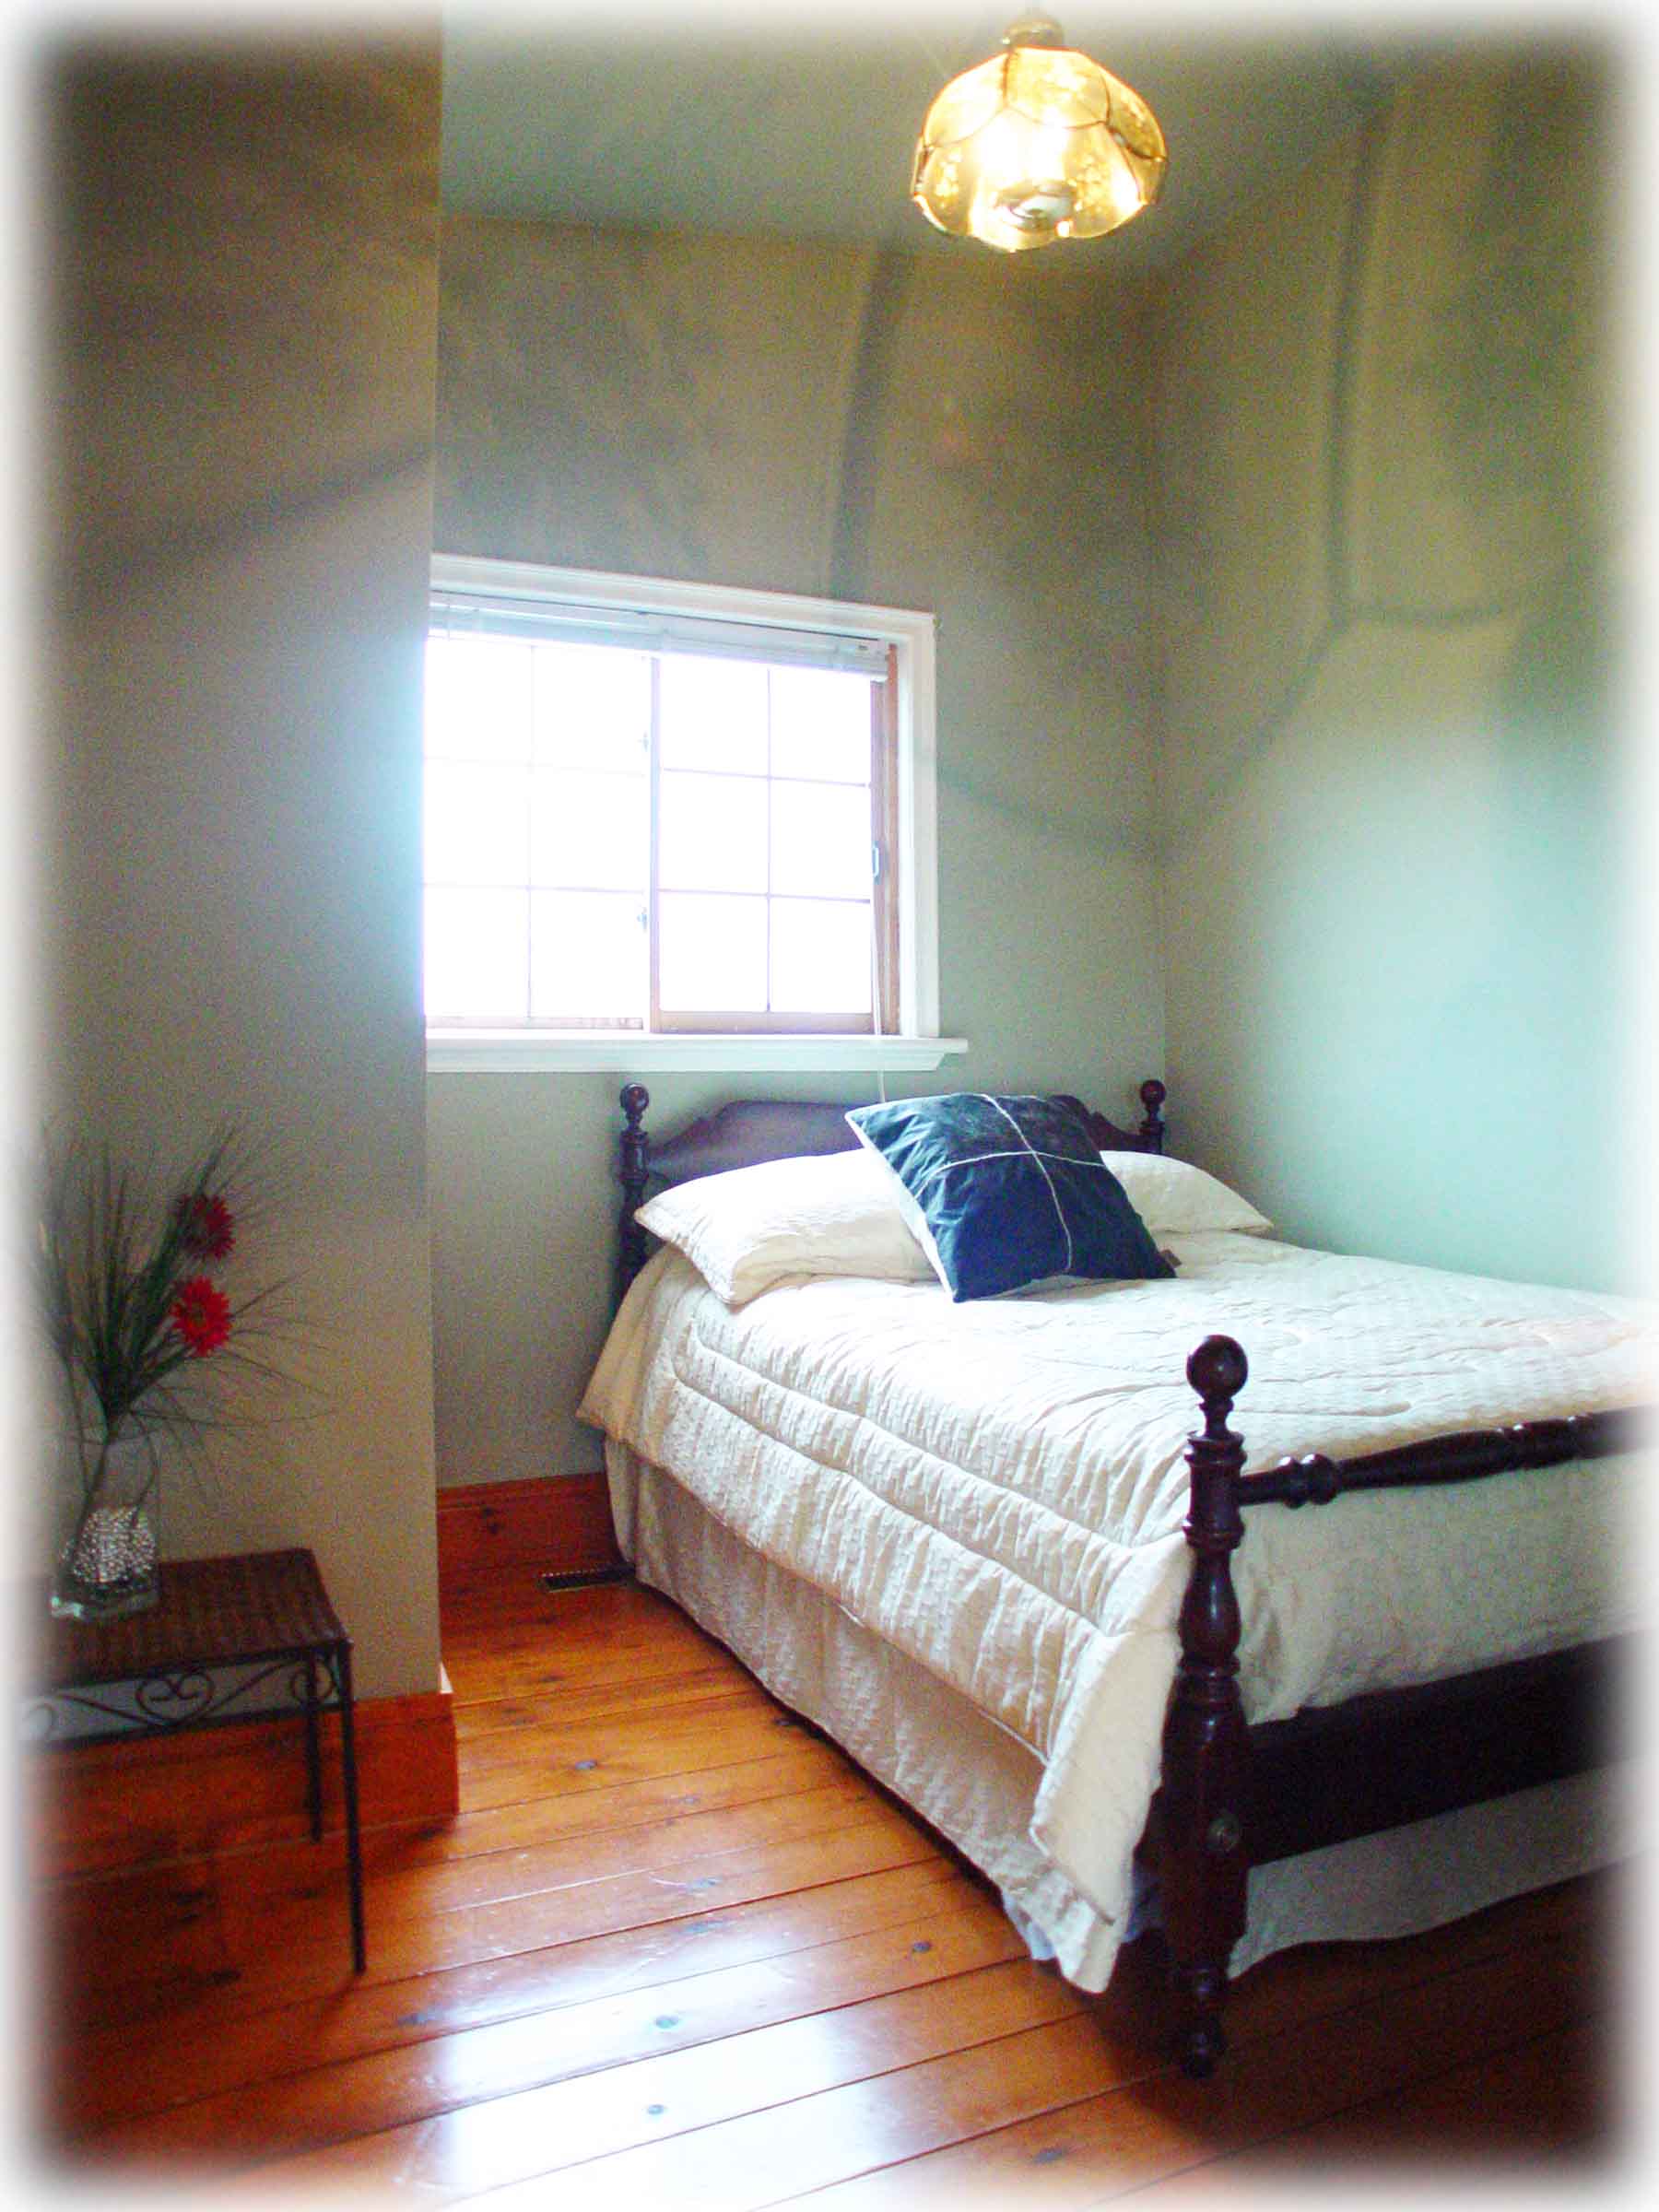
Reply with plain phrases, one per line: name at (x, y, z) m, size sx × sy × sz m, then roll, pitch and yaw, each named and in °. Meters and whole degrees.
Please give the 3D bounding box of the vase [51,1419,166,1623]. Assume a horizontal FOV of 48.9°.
vase at (-0.611, 0.349, 1.561) m, size 0.091 × 0.154 × 0.094 m, roll -6°, pitch 4°, yaw 18°

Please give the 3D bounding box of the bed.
bed at (0.264, 0.386, 1.788) m, size 0.584 × 0.508 × 0.877 m, roll 0°, pitch -3°, yaw -21°

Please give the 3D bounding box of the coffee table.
coffee table at (-0.484, 0.514, 1.590) m, size 0.289 × 0.319 × 0.307 m, roll -1°, pitch 8°, yaw -10°

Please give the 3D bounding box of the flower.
flower at (-0.566, 0.191, 1.710) m, size 0.281 × 0.399 × 0.247 m, roll 5°, pitch 10°, yaw -10°
